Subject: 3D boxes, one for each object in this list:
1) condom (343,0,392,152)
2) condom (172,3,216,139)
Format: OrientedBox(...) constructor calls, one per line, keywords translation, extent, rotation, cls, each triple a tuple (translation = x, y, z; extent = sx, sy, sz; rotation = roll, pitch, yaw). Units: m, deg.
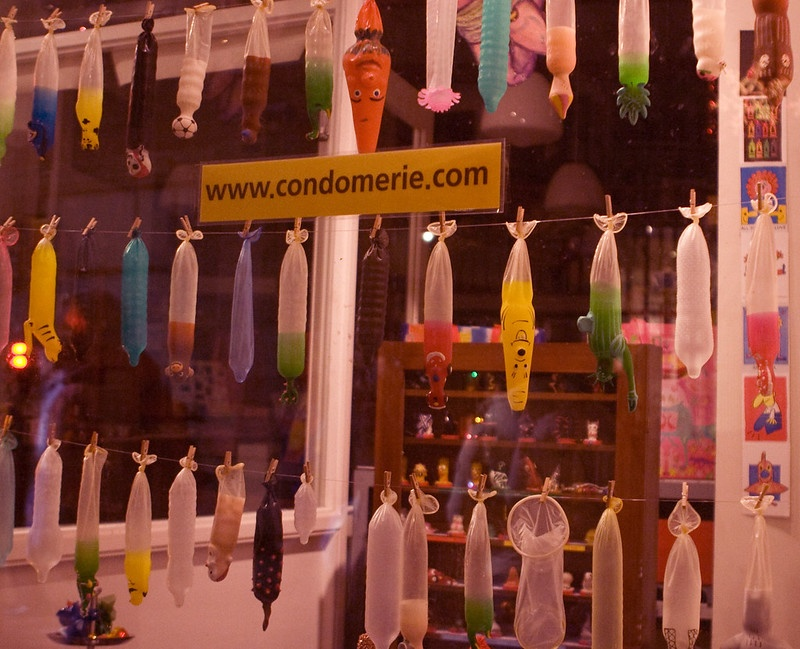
OrientedBox(translation=(-0.061, -0.581, 2.591), extent=(0.125, 0.301, 0.082), rotation=(-2, 1, -39), cls="condom")
OrientedBox(translation=(-0.509, -0.628, 2.751), extent=(0.109, 0.307, 0.138), rotation=(-1, 1, -13), cls="condom")
